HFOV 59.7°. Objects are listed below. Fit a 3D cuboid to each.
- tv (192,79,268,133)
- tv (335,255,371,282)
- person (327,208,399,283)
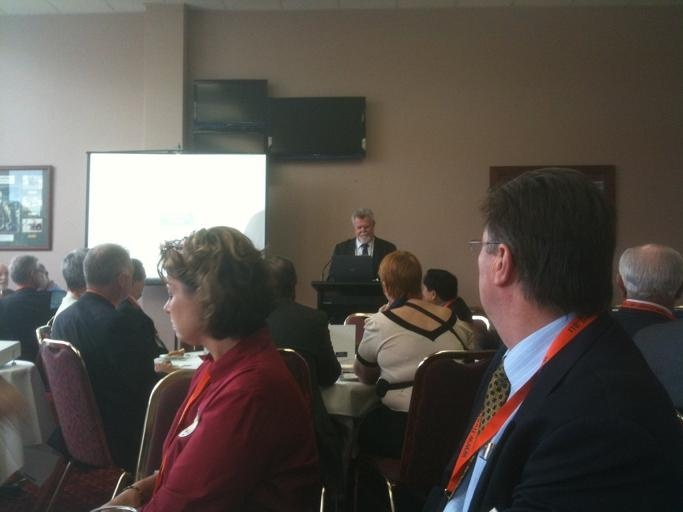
[{"bbox_3d":[-1.095,-1.513,5.946,0.813,0.564,0.460,0,-3,-2],"label":"tv"},{"bbox_3d":[0.083,0.097,4.667,0.263,0.200,0.191,1,3,5],"label":"tv"},{"bbox_3d":[0.205,-0.098,5.347,0.545,0.874,0.455,0,-21,4],"label":"person"}]
